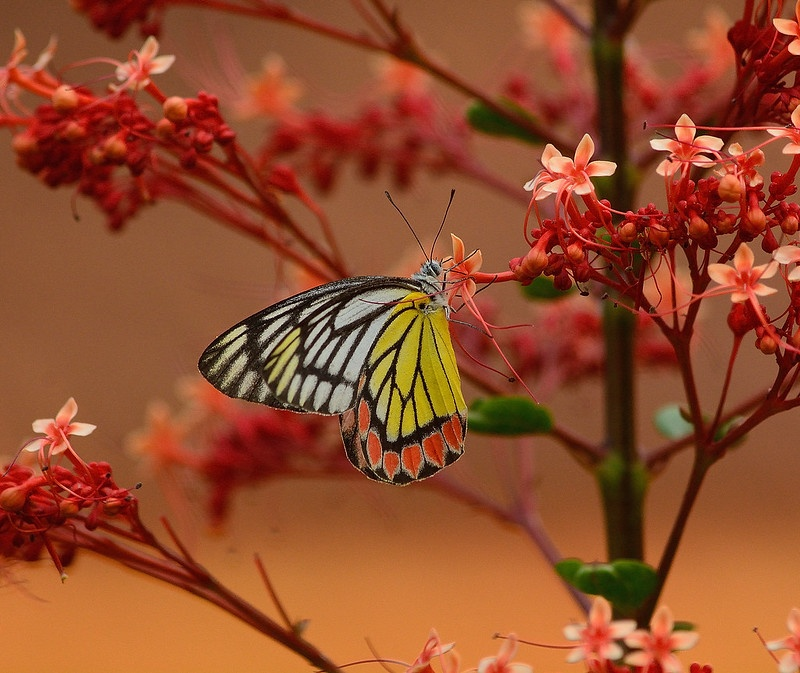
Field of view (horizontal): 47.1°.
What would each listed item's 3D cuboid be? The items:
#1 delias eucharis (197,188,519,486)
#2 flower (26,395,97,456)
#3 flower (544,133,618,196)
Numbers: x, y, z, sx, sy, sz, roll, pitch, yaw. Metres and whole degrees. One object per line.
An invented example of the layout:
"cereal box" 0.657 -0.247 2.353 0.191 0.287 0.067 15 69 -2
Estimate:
"delias eucharis" -0.039 0.013 1.417 0.437 0.248 0.289 35 -51 -20
"flower" -0.468 0.140 1.277 0.033 0.106 0.106 16 -83 5
"flower" 0.229 -0.200 1.172 0.078 0.030 0.092 -19 -40 -9
